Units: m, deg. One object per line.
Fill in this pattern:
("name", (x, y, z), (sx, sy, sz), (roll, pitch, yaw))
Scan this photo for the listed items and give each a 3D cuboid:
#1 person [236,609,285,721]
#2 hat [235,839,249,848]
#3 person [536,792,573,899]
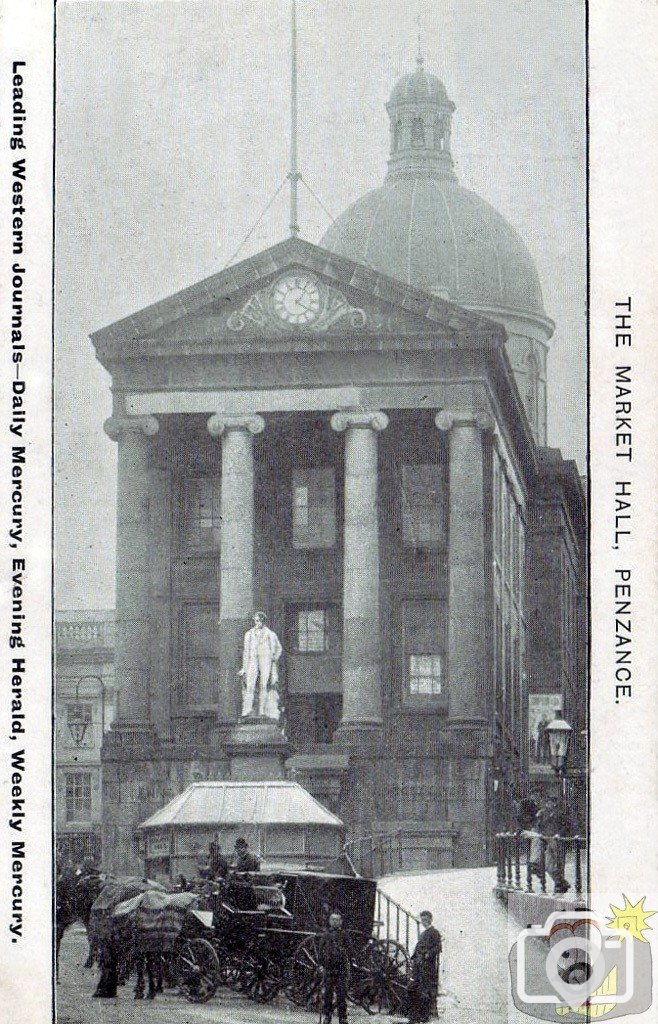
("person", (-0.837, 1.901, 33.371), (0.511, 1.366, 0.566), (1, -10, -3))
("hat", (-0.908, 3.515, 28.845), (0.122, 0.070, 0.162), (1, -1, 14))
("person", (2.477, 3.665, 29.665), (0.417, 1.290, 0.482), (8, -20, -11))
